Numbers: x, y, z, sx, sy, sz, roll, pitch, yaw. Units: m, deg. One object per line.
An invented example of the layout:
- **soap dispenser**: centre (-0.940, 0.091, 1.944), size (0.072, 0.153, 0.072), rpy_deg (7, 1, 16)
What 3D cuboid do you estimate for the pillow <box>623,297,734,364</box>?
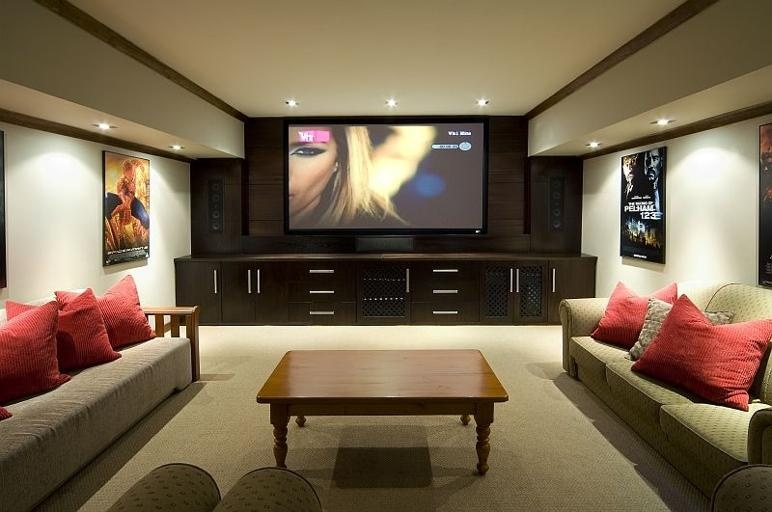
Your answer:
- **pillow**: centre (2.442, 0.668, 4.416), size (0.180, 0.563, 0.584), rpy_deg (39, -30, -7)
